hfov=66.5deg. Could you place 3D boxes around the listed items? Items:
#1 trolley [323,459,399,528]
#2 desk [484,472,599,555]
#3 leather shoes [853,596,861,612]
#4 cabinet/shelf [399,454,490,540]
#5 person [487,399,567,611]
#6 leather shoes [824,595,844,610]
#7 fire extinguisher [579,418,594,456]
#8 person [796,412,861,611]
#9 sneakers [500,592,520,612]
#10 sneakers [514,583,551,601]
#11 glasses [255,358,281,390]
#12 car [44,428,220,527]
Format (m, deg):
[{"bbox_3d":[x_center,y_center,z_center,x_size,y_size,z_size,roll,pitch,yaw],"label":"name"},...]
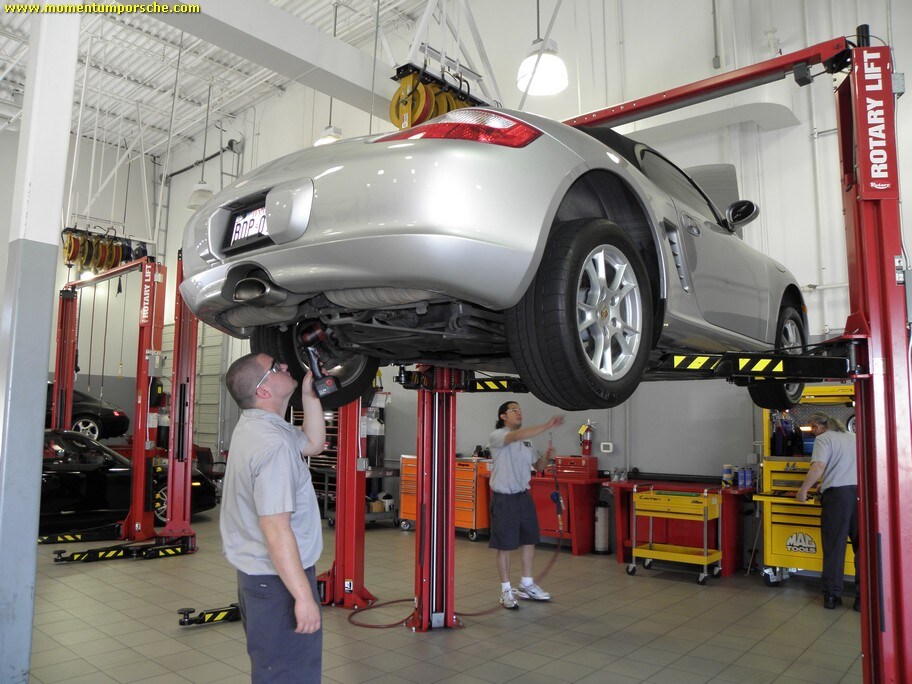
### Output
[{"bbox_3d":[-1.482,1.827,9.669,0.907,1.281,1.222,-2,-4,-15],"label":"trolley"},{"bbox_3d":[1.209,1.985,8.017,0.314,0.799,0.738,6,-8,-39],"label":"desk"},{"bbox_3d":[3.292,2.182,5.742,0.038,0.106,0.127,-3,-6,37],"label":"leather shoes"},{"bbox_3d":[-0.202,1.901,8.789,0.977,1.067,0.383,4,13,9],"label":"cabinet/shelf"},{"bbox_3d":[0.543,1.370,5.807,0.525,1.703,1.001,0,-5,5],"label":"person"},{"bbox_3d":[3.163,2.189,5.837,0.081,0.148,0.138,1,0,-31],"label":"leather shoes"},{"bbox_3d":[1.532,1.140,8.223,0.182,0.406,0.213,-1,-5,15],"label":"fire extinguisher"},{"bbox_3d":[3.176,1.511,5.943,0.439,1.473,0.239,-1,-6,21],"label":"person"},{"bbox_3d":[0.452,2.158,5.755,0.141,0.121,0.116,1,-5,1],"label":"sneakers"},{"bbox_3d":[0.663,2.177,6.042,0.303,0.162,0.130,1,-5,12],"label":"sneakers"},{"bbox_3d":[-0.867,0.158,3.211,0.030,0.109,0.101,40,-20,-22],"label":"glasses"},{"bbox_3d":[-3.993,1.688,8.613,1.944,0.687,1.057,1,1,-40],"label":"car"}]
